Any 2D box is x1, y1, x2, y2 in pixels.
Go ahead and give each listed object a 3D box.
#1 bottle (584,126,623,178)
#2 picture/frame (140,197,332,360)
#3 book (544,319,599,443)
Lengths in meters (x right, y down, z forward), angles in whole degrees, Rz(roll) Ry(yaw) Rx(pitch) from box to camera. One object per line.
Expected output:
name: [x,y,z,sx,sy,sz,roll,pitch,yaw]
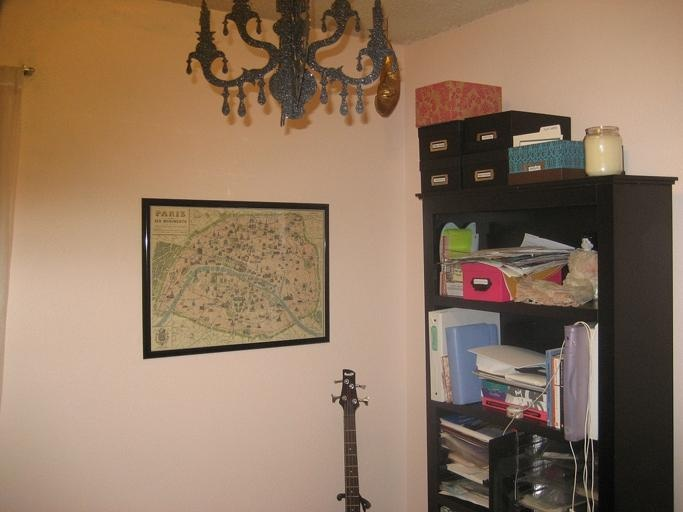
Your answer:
bottle: [1.079,-0.433,2.476,0.143,0.212,0.149,-1,1,0]
picture/frame: [-0.601,0.112,3.170,0.862,0.704,0.034,0,-1,-30]
book: [0.982,0.540,2.542,0.147,0.529,0.214,-1,1,-6]
